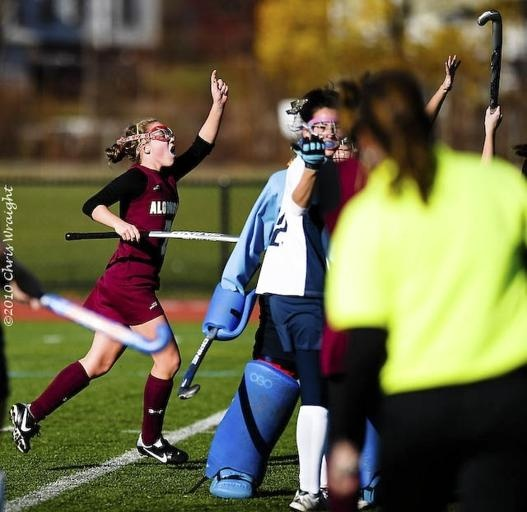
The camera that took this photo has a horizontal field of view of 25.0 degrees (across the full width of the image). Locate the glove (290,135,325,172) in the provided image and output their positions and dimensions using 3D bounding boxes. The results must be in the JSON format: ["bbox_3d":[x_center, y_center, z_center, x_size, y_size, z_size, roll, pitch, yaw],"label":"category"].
[{"bbox_3d":[0.170,-0.386,4.360,0.130,0.095,0.048,27,44,-12],"label":"glove"}]

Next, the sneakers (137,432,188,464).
[{"bbox_3d":[-0.505,0.969,5.973,0.284,0.125,0.111,16,30,23],"label":"sneakers"}]

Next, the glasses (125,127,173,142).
[{"bbox_3d":[-0.580,-0.615,6.127,0.147,0.053,0.107,-8,6,-2],"label":"glasses"}]

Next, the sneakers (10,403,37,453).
[{"bbox_3d":[-1.201,0.832,5.960,0.142,0.281,0.103,-2,7,41],"label":"sneakers"}]

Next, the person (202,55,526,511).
[{"bbox_3d":[0.174,0.187,4.643,0.655,1.754,1.498,-1,2,-10],"label":"person"}]
